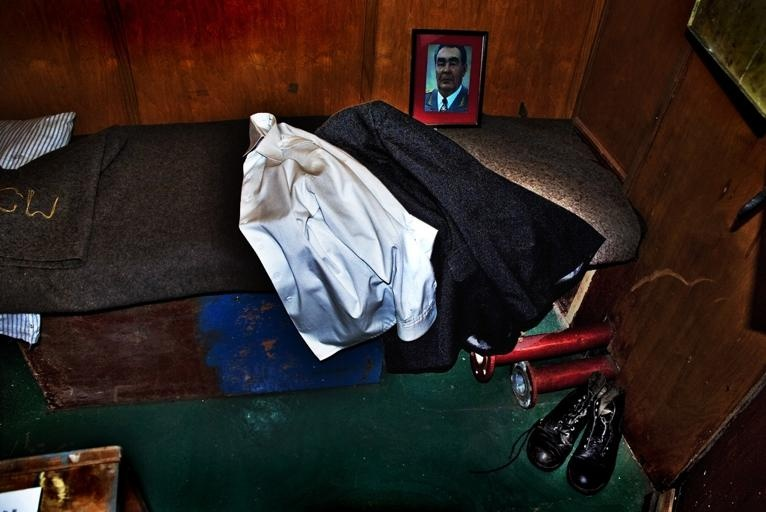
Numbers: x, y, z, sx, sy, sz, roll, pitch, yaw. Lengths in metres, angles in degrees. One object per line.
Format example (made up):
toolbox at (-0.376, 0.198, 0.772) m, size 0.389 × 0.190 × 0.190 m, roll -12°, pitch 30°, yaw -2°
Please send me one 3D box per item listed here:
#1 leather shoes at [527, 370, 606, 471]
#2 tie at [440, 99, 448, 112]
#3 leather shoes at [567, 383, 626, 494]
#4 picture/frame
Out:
leather shoes at (0.810, 0.798, 2.596) m, size 0.162 × 0.191 × 0.497 m, roll 37°, pitch 27°, yaw 20°
tie at (0.325, -0.801, 2.987) m, size 0.033 × 0.067 × 0.015 m, roll 0°, pitch 10°, yaw -4°
leather shoes at (0.970, 0.845, 2.519) m, size 0.172 × 0.210 × 0.533 m, roll 19°, pitch 60°, yaw 20°
picture/frame at (0.343, -0.940, 2.968) m, size 0.393 × 0.455 × 0.242 m, roll 2°, pitch 33°, yaw 3°
